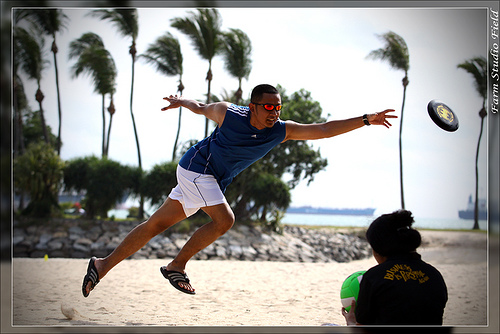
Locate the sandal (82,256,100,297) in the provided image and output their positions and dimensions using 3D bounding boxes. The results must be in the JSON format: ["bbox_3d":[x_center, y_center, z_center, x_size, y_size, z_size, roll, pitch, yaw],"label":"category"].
[{"bbox_3d":[-2.445,1.658,9.272,0.231,0.636,0.222,8,-6,19],"label":"sandal"}]

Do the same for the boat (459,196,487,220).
[{"bbox_3d":[7.120,1.302,19.287,0.139,0.809,1.005,-1,0,-44],"label":"boat"}]

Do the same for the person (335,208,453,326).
[{"bbox_3d":[2.013,1.380,8.076,1.166,1.605,0.431,1,2,18],"label":"person"}]

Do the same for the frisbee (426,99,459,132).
[{"bbox_3d":[2.803,-0.740,8.737,0.487,0.428,0.190,0,2,-29],"label":"frisbee"}]
